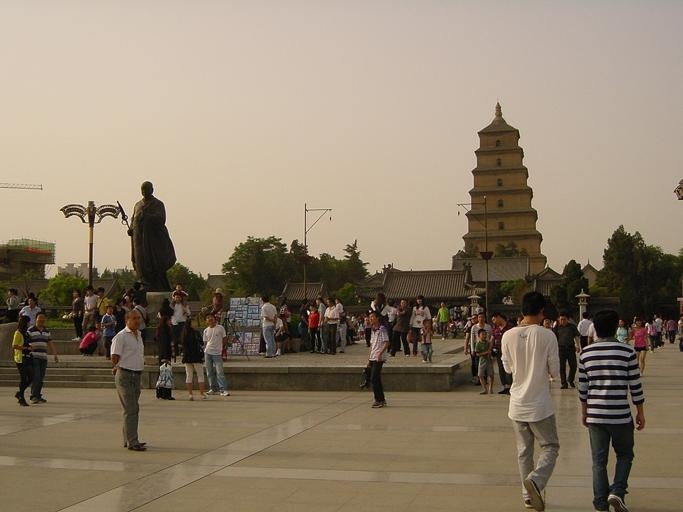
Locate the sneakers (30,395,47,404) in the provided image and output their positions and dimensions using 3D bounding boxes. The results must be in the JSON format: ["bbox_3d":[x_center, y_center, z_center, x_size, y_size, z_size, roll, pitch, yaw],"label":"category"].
[{"bbox_3d":[-6.754,3.179,21.320,0.389,0.158,0.131,1,-3,2],"label":"sneakers"}]

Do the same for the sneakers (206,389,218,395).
[{"bbox_3d":[-3.118,3.177,22.610,0.263,0.110,0.098,-1,-17,26],"label":"sneakers"}]

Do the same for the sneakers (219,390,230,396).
[{"bbox_3d":[-2.762,3.160,22.307,0.272,0.112,0.101,-5,-6,32],"label":"sneakers"}]

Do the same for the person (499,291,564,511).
[{"bbox_3d":[2.680,1.987,13.579,0.782,3.000,1.171,-2,-6,11],"label":"person"}]

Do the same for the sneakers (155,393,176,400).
[{"bbox_3d":[-4.005,3.158,21.785,0.446,0.184,0.146,0,2,0],"label":"sneakers"}]

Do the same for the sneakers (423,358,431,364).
[{"bbox_3d":[2.192,2.688,24.846,0.246,0.149,0.081,-2,-1,11],"label":"sneakers"}]

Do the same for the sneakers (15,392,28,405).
[{"bbox_3d":[-7.001,3.100,21.049,0.180,0.236,0.554,5,-3,18],"label":"sneakers"}]

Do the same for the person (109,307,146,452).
[{"bbox_3d":[-3.668,2.075,16.462,0.571,2.358,0.792,0,-6,-12],"label":"person"}]

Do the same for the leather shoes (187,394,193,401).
[{"bbox_3d":[-3.462,3.180,21.668,0.099,0.155,0.157,7,-28,-13],"label":"leather shoes"}]

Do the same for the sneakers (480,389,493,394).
[{"bbox_3d":[3.329,3.104,22.178,0.372,0.142,0.117,1,-7,13],"label":"sneakers"}]

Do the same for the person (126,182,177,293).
[{"bbox_3d":[-6.021,-0.593,30.167,1.088,3.374,1.290,-4,-7,31],"label":"person"}]

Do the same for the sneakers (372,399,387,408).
[{"bbox_3d":[0.792,3.075,20.051,0.362,0.150,0.120,2,-12,11],"label":"sneakers"}]

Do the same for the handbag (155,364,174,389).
[{"bbox_3d":[-4.028,2.668,21.665,0.339,0.570,0.333,-1,-6,-2],"label":"handbag"}]
